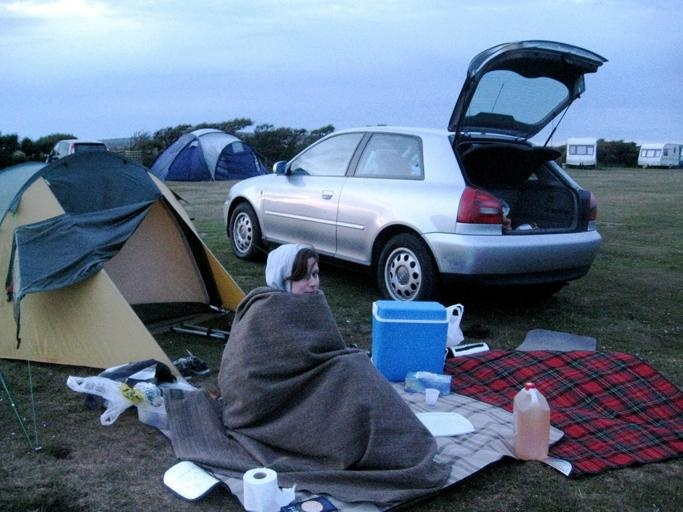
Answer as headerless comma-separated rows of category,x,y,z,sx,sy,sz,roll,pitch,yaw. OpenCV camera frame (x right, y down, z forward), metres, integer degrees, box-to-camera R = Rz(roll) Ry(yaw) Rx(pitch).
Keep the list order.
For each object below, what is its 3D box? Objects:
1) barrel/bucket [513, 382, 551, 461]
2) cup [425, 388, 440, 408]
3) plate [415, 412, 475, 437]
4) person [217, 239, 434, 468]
barrel/bucket,1.114,0.971,2.998,0.209,0.435,0.152,4,16,15
cup,0.619,0.973,3.536,0.105,0.083,0.107,1,-7,0
plate,0.675,1.079,3.272,0.235,0.037,0.167,5,14,-7
person,-0.108,0.702,2.997,1.230,0.855,0.505,6,16,22
